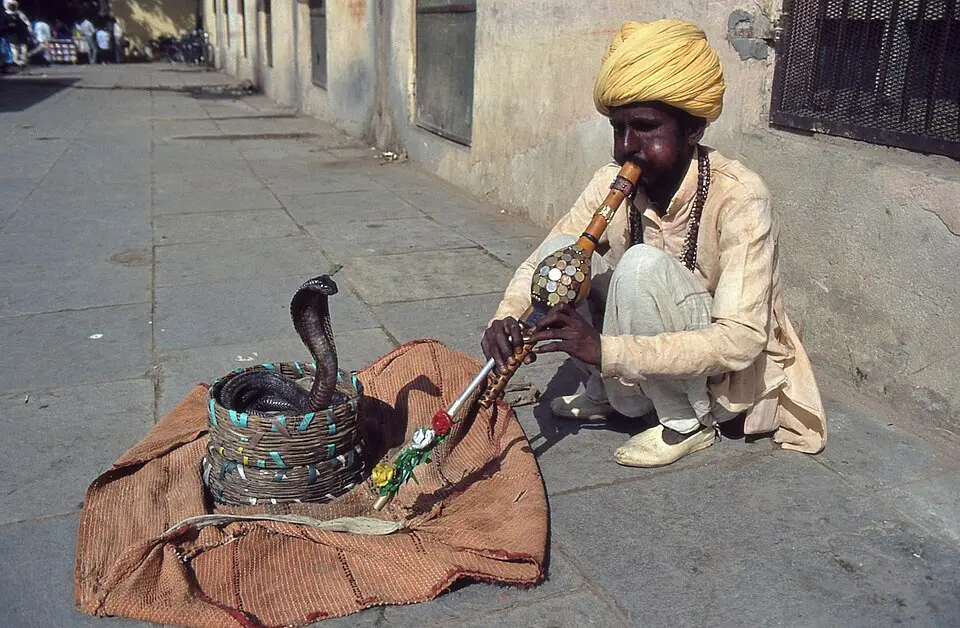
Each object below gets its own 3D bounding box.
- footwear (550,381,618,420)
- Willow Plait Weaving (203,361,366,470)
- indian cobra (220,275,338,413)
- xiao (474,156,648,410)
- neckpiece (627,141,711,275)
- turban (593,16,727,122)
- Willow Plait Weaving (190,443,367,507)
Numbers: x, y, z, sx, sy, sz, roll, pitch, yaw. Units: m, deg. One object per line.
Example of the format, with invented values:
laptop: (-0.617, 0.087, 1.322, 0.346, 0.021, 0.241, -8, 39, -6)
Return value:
footwear: (0.500, 0.418, 3.492, 0.304, 0.281, 0.142, 7, 35, 3)
Willow Plait Weaving: (-0.720, 0.360, 2.824, 0.435, 0.451, 0.732, 1, -1, 0)
indian cobra: (-0.697, 0.116, 2.713, 0.377, 0.548, 0.475, -2, 21, -13)
xiao: (0.254, -0.072, 2.770, 1.006, 0.917, 0.300, -19, 32, -36)
neckpiece: (0.771, -0.415, 2.973, 0.311, 0.609, 0.261, 3, -2, 15)
turban: (0.726, -0.950, 2.874, 0.450, 0.343, 0.398, -13, 23, -32)
Willow Plait Weaving: (-0.747, 0.627, 2.709, 0.661, 0.211, 0.262, -3, -2, 10)
